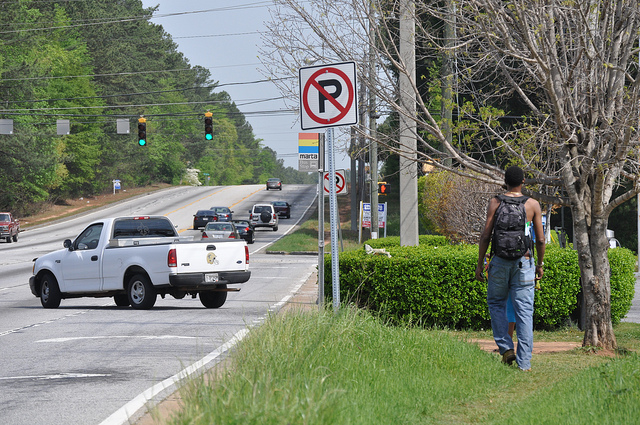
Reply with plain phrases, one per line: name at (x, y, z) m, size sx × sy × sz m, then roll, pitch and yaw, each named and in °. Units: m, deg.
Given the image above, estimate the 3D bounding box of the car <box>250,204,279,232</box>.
car at (-4.039, 0.460, 57.034) m, size 1.896 × 1.582 × 3.303 m, roll 1°, pitch 4°, yaw 1°

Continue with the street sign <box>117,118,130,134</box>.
street sign at (-11.964, -5.222, 48.305) m, size 0.844 × 1.177 × 1.225 m, roll -3°, pitch 4°, yaw -10°

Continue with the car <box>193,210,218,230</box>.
car at (-8.218, 0.484, 57.194) m, size 1.091 × 0.739 × 2.243 m, roll -1°, pitch 5°, yaw -1°

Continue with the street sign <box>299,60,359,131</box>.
street sign at (0.119, -1.959, 13.227) m, size 1.043 × 1.078 × 0.110 m, roll 1°, pitch 2°, yaw 23°

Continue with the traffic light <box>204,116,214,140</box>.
traffic light at (-5.588, -4.273, 39.918) m, size 0.342 × 1.114 × 1.421 m, roll 0°, pitch 1°, yaw -12°

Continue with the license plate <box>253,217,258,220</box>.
license plate at (-4.590, 0.435, 56.597) m, size 0.437 × 0.142 × 0.078 m, roll 2°, pitch 2°, yaw 40°

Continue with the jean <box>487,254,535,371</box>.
jean at (3.042, 1.596, 12.732) m, size 0.719 × 1.802 × 0.397 m, roll 1°, pitch 2°, yaw 21°

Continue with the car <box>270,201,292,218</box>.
car at (-3.317, -0.207, 66.581) m, size 1.301 × 1.047 × 2.849 m, roll 1°, pitch 6°, yaw 1°

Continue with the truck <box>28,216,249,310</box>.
truck at (-4.514, 1.305, 19.870) m, size 5.223 × 2.373 × 1.592 m, roll 1°, pitch 1°, yaw 22°
